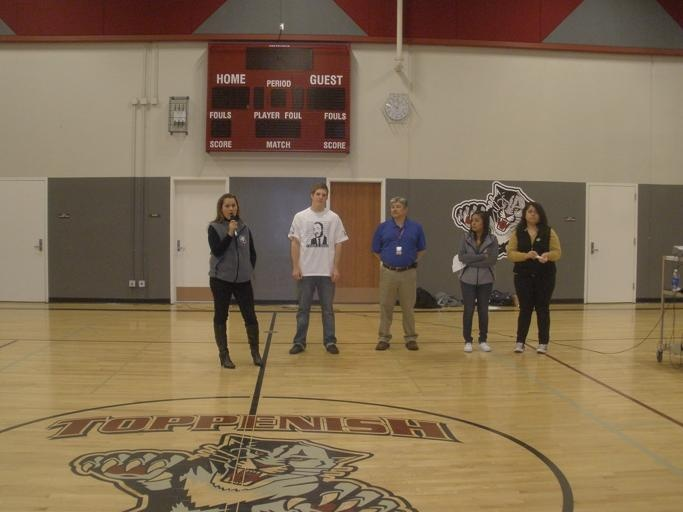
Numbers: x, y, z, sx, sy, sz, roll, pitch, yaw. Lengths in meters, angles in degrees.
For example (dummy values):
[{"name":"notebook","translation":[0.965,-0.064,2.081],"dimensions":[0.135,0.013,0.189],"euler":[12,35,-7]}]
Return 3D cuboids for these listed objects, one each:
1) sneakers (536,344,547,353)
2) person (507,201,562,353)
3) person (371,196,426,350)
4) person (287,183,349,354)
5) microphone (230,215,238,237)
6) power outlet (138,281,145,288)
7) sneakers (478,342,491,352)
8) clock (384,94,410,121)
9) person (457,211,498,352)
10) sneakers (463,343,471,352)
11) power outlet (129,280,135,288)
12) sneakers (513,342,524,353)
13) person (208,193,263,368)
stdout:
[{"name":"sneakers","translation":[2.536,1.161,8.134],"dimensions":[0.076,0.110,0.240],"euler":[-2,-9,13]},{"name":"person","translation":[2.380,0.288,8.050],"dimensions":[0.615,1.919,0.513],"euler":[4,11,17]},{"name":"person","translation":[0.718,0.335,8.238],"dimensions":[0.649,1.730,0.405],"euler":[2,11,7]},{"name":"person","translation":[-0.301,0.162,8.042],"dimensions":[0.695,2.133,0.483],"euler":[0,11,-3]},{"name":"microphone","translation":[-1.221,-0.349,7.252],"dimensions":[0.089,0.208,0.176],"euler":[-1,11,-8]},{"name":"power outlet","translation":[-3.670,0.499,11.739],"dimensions":[0.112,0.124,0.028],"euler":[1,-3,-1]},{"name":"sneakers","translation":[1.842,1.152,8.264],"dimensions":[0.066,0.083,0.198],"euler":[-1,-2,-6]},{"name":"clock","translation":[1.050,-2.787,11.924],"dimensions":[0.475,0.497,0.114],"euler":[-4,2,-9]},{"name":"person","translation":[1.733,0.329,8.200],"dimensions":[0.480,1.804,0.427],"euler":[-3,11,-18]},{"name":"sneakers","translation":[1.616,1.161,8.235],"dimensions":[0.084,0.109,0.243],"euler":[0,-5,5]},{"name":"power outlet","translation":[-3.849,0.477,11.783],"dimensions":[0.111,0.123,0.062],"euler":[0,-4,-1]},{"name":"sneakers","translation":[2.254,1.152,8.162],"dimensions":[0.087,0.099,0.233],"euler":[-2,-8,17]},{"name":"person","translation":[-1.230,0.283,7.455],"dimensions":[0.600,1.997,0.479],"euler":[-1,11,-12]}]
